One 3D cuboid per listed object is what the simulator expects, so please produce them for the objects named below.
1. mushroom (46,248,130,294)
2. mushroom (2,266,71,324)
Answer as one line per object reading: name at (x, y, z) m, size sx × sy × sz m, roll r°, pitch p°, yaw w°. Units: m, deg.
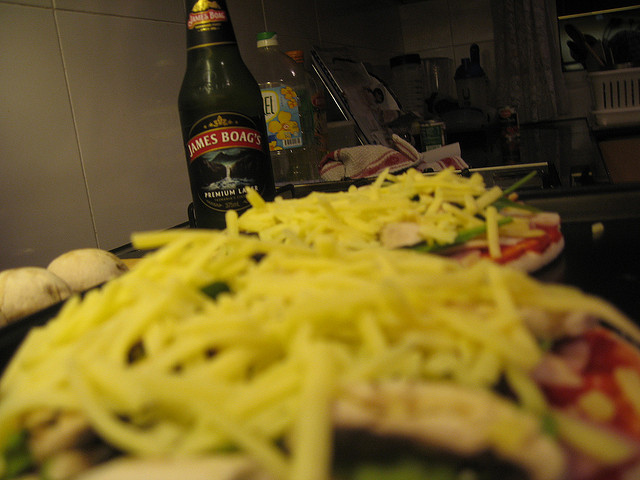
mushroom at (-0.145, 0.019, 0.305) m, size 0.029 × 0.021 × 0.035 m, roll 0°, pitch 4°, yaw 4°
mushroom at (-0.172, 0.030, 0.308) m, size 0.040 × 0.026 × 0.047 m, roll 0°, pitch 18°, yaw -5°
